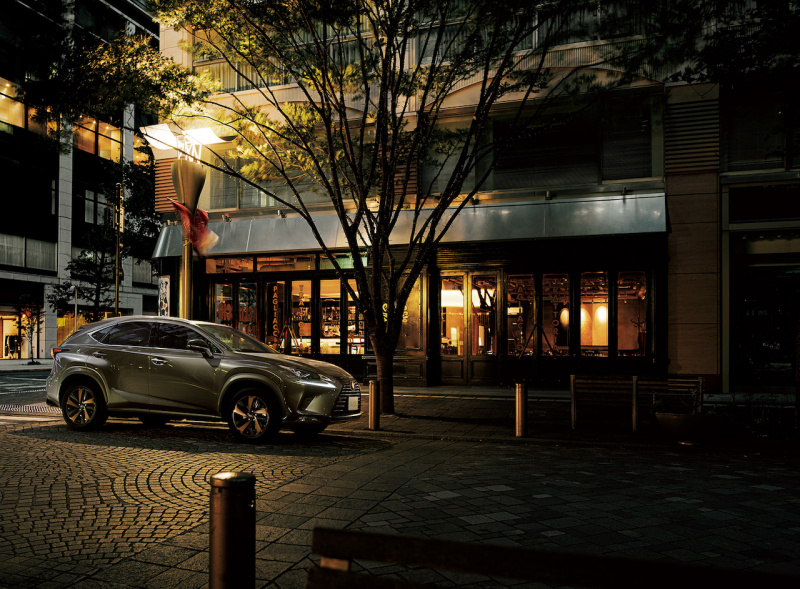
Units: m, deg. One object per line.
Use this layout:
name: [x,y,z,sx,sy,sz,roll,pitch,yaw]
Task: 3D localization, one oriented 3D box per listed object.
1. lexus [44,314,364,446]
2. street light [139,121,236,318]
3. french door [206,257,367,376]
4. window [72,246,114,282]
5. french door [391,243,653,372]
lexus: [-3.447,1.524,13.907,4.736,1.730,2.392,-2,-9,14]
street light: [-4.416,-1.423,16.057,1.906,4.140,2.012,6,16,-2]
french door: [-2.655,0.583,20.460,3.247,3.253,1.213,1,0,10]
window: [-14.263,-1.178,36.280,2.555,1.756,2.510,3,-2,-31]
french door: [4.373,0.546,21.932,9.060,4.980,3.054,1,-2,18]
